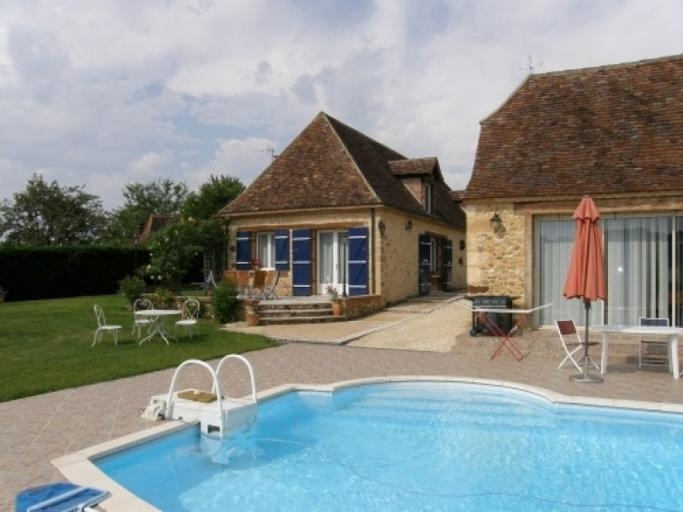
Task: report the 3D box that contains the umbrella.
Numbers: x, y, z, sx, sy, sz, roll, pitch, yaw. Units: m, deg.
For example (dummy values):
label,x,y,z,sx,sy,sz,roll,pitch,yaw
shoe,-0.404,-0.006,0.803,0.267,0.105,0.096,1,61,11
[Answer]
label,x,y,z,sx,sy,sz,roll,pitch,yaw
umbrella,5.088,0.081,11.725,0.717,2.592,0.811,7,12,39

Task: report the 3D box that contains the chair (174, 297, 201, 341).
label,x,y,z,sx,sy,sz,roll,pitch,yaw
chair,-4.515,1.878,16.779,0.813,1.437,0.942,0,-2,11

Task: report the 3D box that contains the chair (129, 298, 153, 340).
label,x,y,z,sx,sy,sz,roll,pitch,yaw
chair,-5.880,1.854,16.701,0.821,1.486,0.949,0,-1,-22

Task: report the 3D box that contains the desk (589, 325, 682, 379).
label,x,y,z,sx,sy,sz,roll,pitch,yaw
desk,6.431,1.916,12.206,1.658,1.165,1.722,4,10,26

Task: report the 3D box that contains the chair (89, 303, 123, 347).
label,x,y,z,sx,sy,sz,roll,pitch,yaw
chair,-6.741,1.984,16.276,0.908,1.310,0.885,2,4,1

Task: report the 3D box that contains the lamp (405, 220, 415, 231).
label,x,y,z,sx,sy,sz,roll,pitch,yaw
lamp,2.732,-1.257,22.740,0.388,0.474,1.179,1,-3,3

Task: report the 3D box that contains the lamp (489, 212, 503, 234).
label,x,y,z,sx,sy,sz,roll,pitch,yaw
lamp,4.128,-0.883,15.094,0.342,0.560,0.187,-3,10,-19
